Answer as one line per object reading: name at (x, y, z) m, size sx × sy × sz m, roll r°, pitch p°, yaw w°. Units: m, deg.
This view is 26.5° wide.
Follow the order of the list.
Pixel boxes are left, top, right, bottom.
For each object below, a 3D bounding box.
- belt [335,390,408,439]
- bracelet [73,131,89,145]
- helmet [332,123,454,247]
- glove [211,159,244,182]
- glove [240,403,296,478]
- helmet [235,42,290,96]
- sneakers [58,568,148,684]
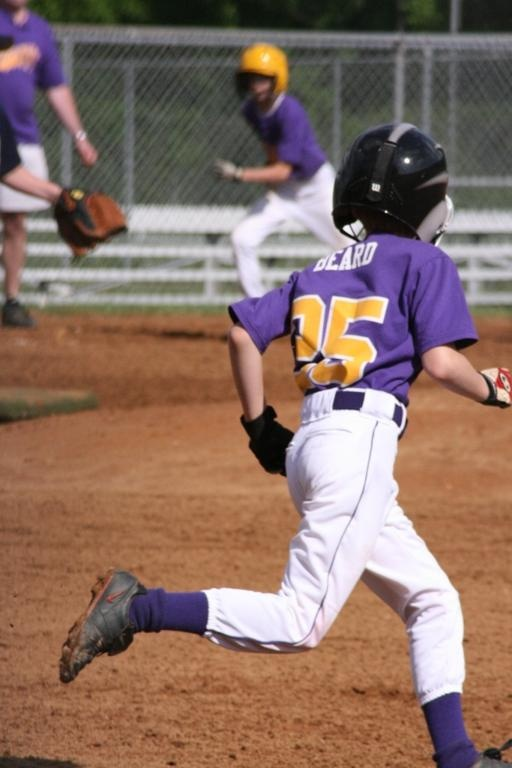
belt at (0.268, 0.066, 2.519) m, size 0.143 × 0.057 × 0.105 m, roll 12°, pitch -9°, yaw -11°
bracelet at (-0.767, -1.076, 4.691) m, size 0.053 × 0.069 × 0.026 m, roll -3°, pitch 46°, yaw -14°
helmet at (0.342, -0.492, 2.782) m, size 0.250 × 0.280 × 0.342 m, roll 9°, pitch -7°, yaw 29°
glove at (-0.182, -1.276, 6.466) m, size 0.253 × 0.077 × 0.070 m, roll 11°, pitch -25°, yaw -33°
glove at (0.027, 0.190, 3.474) m, size 0.214 × 0.129 × 0.340 m, roll -8°, pitch -12°, yaw 6°
helmet at (0.035, -1.955, 6.785) m, size 0.340 × 0.312 × 0.391 m, roll 13°, pitch 28°, yaw 33°
sneakers at (-0.347, 0.543, 2.437) m, size 0.126 × 0.236 × 0.168 m, roll 8°, pitch 16°, yaw 25°
